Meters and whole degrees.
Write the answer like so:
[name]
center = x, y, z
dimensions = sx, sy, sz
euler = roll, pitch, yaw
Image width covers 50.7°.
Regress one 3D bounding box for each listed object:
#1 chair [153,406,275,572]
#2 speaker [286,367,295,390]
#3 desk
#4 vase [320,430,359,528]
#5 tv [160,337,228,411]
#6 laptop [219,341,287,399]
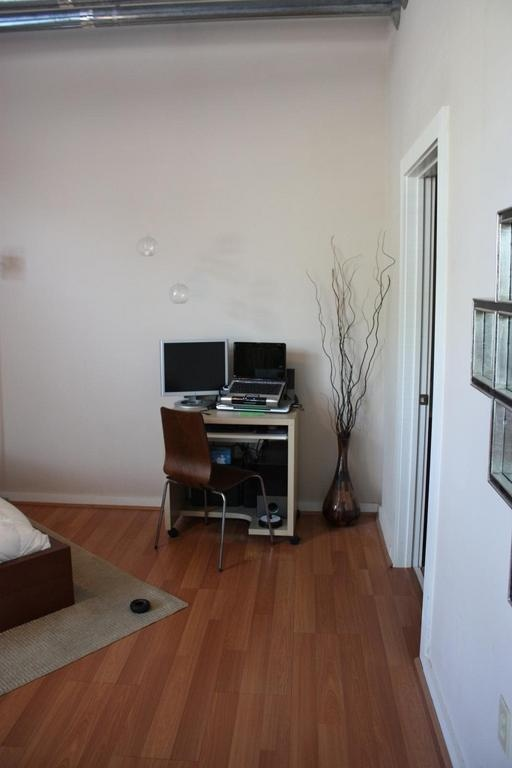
[chair]
center = -0.256, 0.500, 2.983
dimensions = 0.436, 0.884, 0.485
euler = 6, 14, 36
[speaker]
center = 0.217, -0.028, 3.369
dimensions = 0.036, 0.125, 0.126
euler = 2, 5, 33
[desk]
center = -0.199, 0.471, 3.254
dimensions = 0.625, 0.710, 0.479
euler = 8, 9, -21
[vase]
center = 0.524, 0.573, 3.299
dimensions = 0.215, 0.586, 0.207
euler = 1, 4, 10
[tv]
center = -0.385, -0.052, 3.395
dimensions = 0.531, 0.638, 0.321
euler = -2, 5, -19
[laptop]
center = 0.002, -0.088, 3.275
dimensions = 0.366, 0.326, 0.382
euler = 0, 4, 5
